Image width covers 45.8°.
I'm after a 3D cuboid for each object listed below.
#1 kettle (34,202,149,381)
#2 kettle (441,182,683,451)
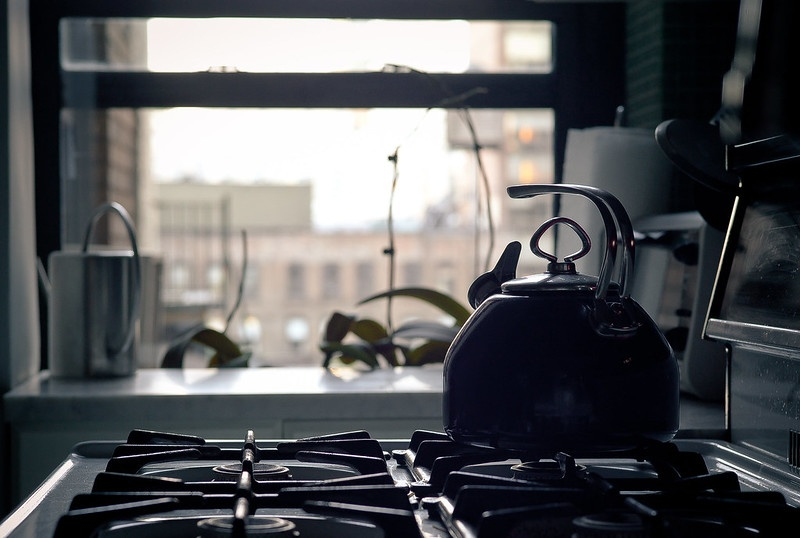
[{"bbox_3d":[-0.649,0.051,2.010,0.183,0.309,0.233,0,-38,-18],"label":"kettle"},{"bbox_3d":[0.221,0.083,1.489,0.344,0.385,0.380,2,-4,-25],"label":"kettle"}]
